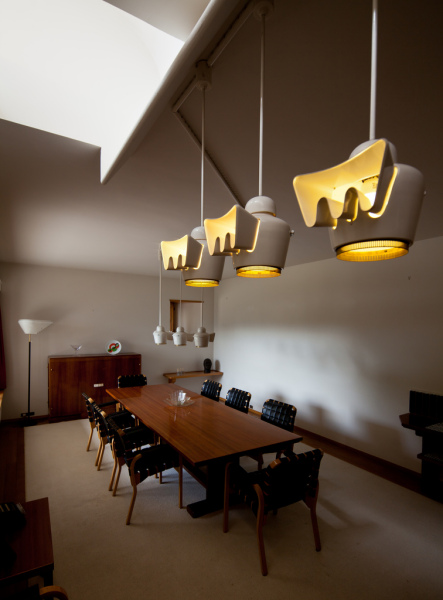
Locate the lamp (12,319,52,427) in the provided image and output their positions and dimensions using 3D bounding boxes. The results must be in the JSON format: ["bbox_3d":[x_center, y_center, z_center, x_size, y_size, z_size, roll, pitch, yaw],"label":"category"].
[{"bbox_3d":[-2.403,0.888,5.451,0.393,1.315,0.481,0,1,-26],"label":"lamp"}]

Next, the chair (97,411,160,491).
[{"bbox_3d":[-0.742,1.232,3.499,0.413,0.646,0.428,-5,-3,-32],"label":"chair"}]

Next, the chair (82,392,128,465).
[{"bbox_3d":[-1.090,1.236,4.085,0.352,0.563,0.402,2,8,-30],"label":"chair"}]

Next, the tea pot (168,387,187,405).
[{"bbox_3d":[-0.436,0.946,4.206,0.105,0.115,0.131,1,-2,-26],"label":"tea pot"}]

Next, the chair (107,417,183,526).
[{"bbox_3d":[-0.721,1.255,3.467,0.376,0.561,0.471,-6,-16,-18],"label":"chair"}]

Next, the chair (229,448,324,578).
[{"bbox_3d":[0.315,1.238,2.744,0.480,0.754,0.547,-3,10,-22],"label":"chair"}]
